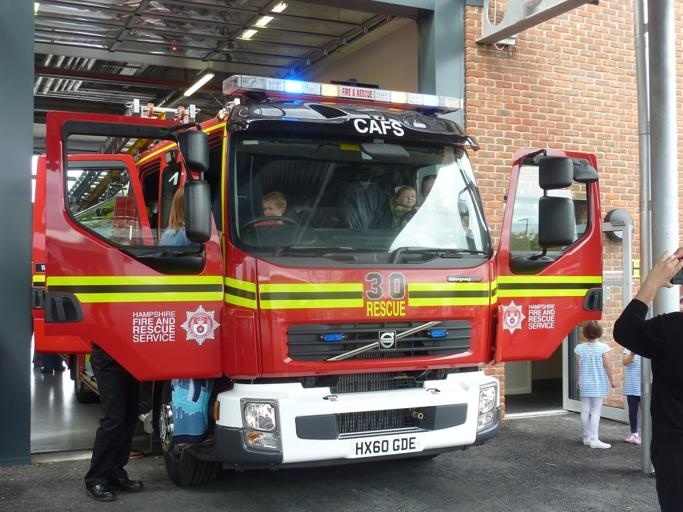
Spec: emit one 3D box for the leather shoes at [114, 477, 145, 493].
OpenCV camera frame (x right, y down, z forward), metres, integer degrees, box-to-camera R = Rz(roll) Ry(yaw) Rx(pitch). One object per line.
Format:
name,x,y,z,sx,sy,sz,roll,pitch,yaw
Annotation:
leather shoes,-1.999,2.158,5.695,0.317,0.099,0.105,4,2,-10

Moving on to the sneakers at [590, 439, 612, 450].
sneakers,3.039,2.220,7.145,0.264,0.144,0.091,-2,0,-1

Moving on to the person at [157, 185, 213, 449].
person,-1.327,0.498,5.139,0.392,2.201,0.432,0,-1,6

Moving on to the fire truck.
fire truck,-1.182,0.213,6.797,3.863,2.199,5.301,3,-6,-28

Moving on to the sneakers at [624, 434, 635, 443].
sneakers,3.531,2.235,7.395,0.072,0.123,0.211,-6,-13,39

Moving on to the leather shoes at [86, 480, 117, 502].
leather shoes,-2.179,2.130,5.470,0.299,0.110,0.131,-5,-10,42
